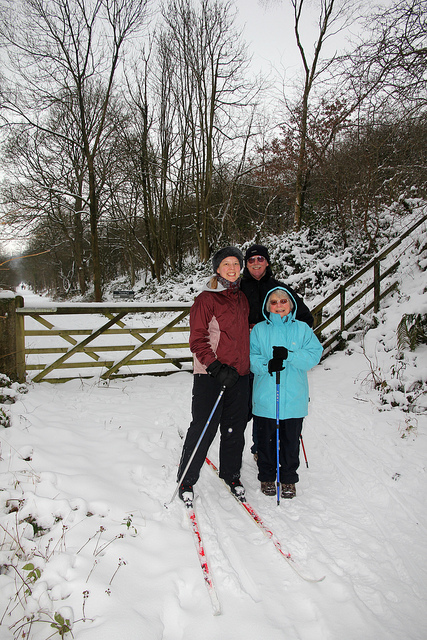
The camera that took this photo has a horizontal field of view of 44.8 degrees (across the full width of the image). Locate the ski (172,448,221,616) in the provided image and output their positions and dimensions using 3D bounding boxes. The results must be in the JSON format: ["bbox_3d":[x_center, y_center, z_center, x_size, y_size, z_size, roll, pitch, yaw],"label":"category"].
[{"bbox_3d":[-0.087,1.317,3.077,0.087,0.036,0.852,13,37,-29],"label":"ski"}]

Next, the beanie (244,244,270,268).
[{"bbox_3d":[0.366,-0.558,4.342,0.147,0.141,0.170,1,-26,10],"label":"beanie"}]

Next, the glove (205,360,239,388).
[{"bbox_3d":[0.066,0.354,3.435,0.202,0.156,0.079,34,-3,6],"label":"glove"}]

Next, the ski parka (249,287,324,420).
[{"bbox_3d":[0.524,0.252,3.853,0.538,0.973,0.343,6,6,4],"label":"ski parka"}]

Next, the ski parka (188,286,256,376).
[{"bbox_3d":[0.071,0.090,3.711,0.591,0.676,0.359,3,-9,-38],"label":"ski parka"}]

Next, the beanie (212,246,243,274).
[{"bbox_3d":[0.106,-0.439,3.838,0.231,0.209,0.212,6,6,0],"label":"beanie"}]

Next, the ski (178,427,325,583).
[{"bbox_3d":[0.240,1.249,3.461,0.109,0.123,1.473,19,13,-37],"label":"ski"}]
